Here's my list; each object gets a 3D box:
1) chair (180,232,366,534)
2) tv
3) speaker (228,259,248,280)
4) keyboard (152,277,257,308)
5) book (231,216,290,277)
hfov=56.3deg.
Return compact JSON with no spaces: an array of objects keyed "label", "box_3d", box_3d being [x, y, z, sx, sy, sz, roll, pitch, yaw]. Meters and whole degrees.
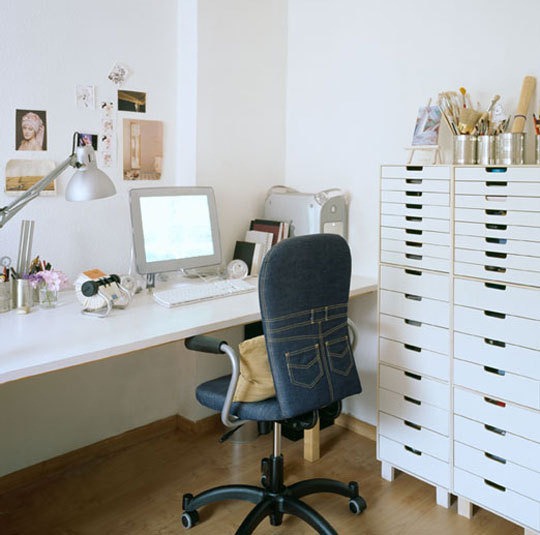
[{"label":"chair","box_3d":[0.015,0.386,1.882,0.601,1.131,0.558,4,5,41]},{"label":"tv","box_3d":[-0.437,-0.147,2.265,0.047,0.446,0.462,3,5,32]},{"label":"speaker","box_3d":[-0.156,0.009,2.436,0.079,0.091,0.054,6,-2,-10]},{"label":"keyboard","box_3d":[-0.367,0.050,2.208,0.392,0.081,0.516,14,13,43]},{"label":"book","box_3d":[-0.051,-0.137,2.602,0.290,0.295,0.136,-9,17,-43]}]
